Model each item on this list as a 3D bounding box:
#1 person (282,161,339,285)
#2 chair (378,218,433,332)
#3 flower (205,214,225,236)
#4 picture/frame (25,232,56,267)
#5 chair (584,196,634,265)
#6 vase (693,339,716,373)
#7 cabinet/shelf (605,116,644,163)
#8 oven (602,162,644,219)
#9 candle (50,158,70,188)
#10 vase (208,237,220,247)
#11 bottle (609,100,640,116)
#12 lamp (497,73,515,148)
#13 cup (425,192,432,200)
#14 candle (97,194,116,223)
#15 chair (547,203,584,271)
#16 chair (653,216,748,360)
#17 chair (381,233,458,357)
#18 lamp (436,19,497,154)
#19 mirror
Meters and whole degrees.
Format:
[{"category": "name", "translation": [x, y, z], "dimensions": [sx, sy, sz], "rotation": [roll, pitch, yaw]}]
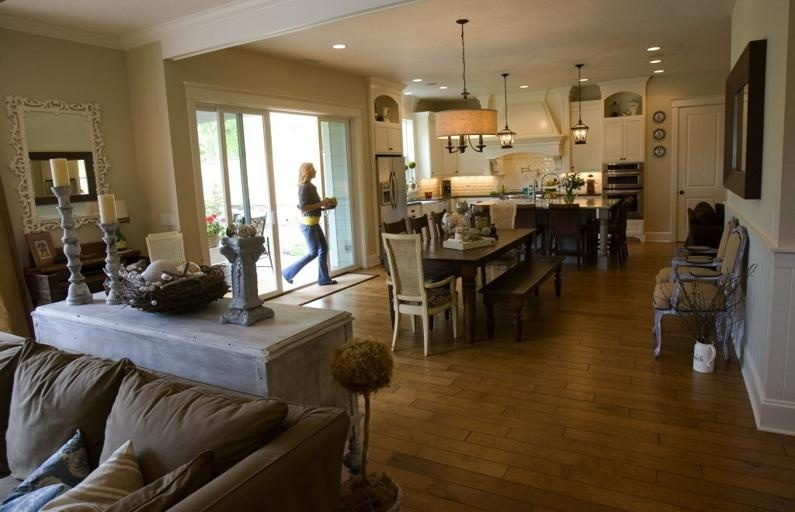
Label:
[{"category": "person", "translation": [-1.367, -0.449, 8.317], "dimensions": [0.921, 1.920, 0.499], "rotation": [-11, 12, -13]}, {"category": "chair", "translation": [0.215, 0.110, 6.326], "dimensions": [0.753, 1.039, 0.678], "rotation": [3, -7, -10]}, {"category": "flower", "translation": [-2.375, -0.409, 7.116], "dimensions": [0.244, 0.228, 0.237], "rotation": [0, 7, 19]}, {"category": "picture/frame", "translation": [-3.978, -0.065, 6.074], "dimensions": [0.033, 0.431, 0.327], "rotation": [-12, 7, 29]}, {"category": "chair", "translation": [3.546, -0.404, 9.221], "dimensions": [0.734, 0.841, 1.291], "rotation": [0, 9, 21]}, {"category": "vase", "translation": [2.902, 0.950, 5.166], "dimensions": [0.205, 0.291, 0.190], "rotation": [-4, 12, 18]}, {"category": "cabinet/shelf", "translation": [4.608, -2.380, 10.990], "dimensions": [0.961, 1.114, 0.576], "rotation": [4, 9, 36]}, {"category": "oven", "translation": [4.826, -1.499, 11.401], "dimensions": [0.872, 1.137, 0.915], "rotation": [-27, 29, -36]}, {"category": "candle", "translation": [-2.600, -0.640, 4.214], "dimensions": [0.119, 0.213, 0.246], "rotation": [-15, 14, -29]}, {"category": "vase", "translation": [-2.399, -0.185, 7.127], "dimensions": [0.128, 0.087, 0.122], "rotation": [-6, 11, -19]}, {"category": "bottle", "translation": [4.610, -3.015, 11.073], "dimensions": [0.590, 0.353, 0.376], "rotation": [-2, 13, 26]}, {"category": "lamp", "translation": [1.792, -2.431, 9.012], "dimensions": [0.336, 1.120, 0.311], "rotation": [-6, 15, -6]}, {"category": "cup", "translation": [0.692, -1.353, 12.281], "dimensions": [0.209, 0.198, 0.276], "rotation": [-3, 4, 9]}, {"category": "candle", "translation": [-2.259, -0.363, 4.252], "dimensions": [0.128, 0.226, 0.153], "rotation": [-15, 13, -27]}, {"category": "chair", "translation": [2.813, -0.364, 8.974], "dimensions": [0.639, 1.022, 0.730], "rotation": [0, 9, 13]}, {"category": "chair", "translation": [3.083, 0.348, 5.549], "dimensions": [0.823, 1.268, 1.175], "rotation": [-1, 14, 32]}, {"category": "chair", "translation": [0.239, 0.357, 5.904], "dimensions": [0.792, 1.315, 0.629], "rotation": [-9, 12, 0]}, {"category": "lamp", "translation": [0.810, -2.113, 6.724], "dimensions": [0.882, 1.599, 0.830], "rotation": [-5, 10, -17]}, {"category": "mirror", "translation": [-3.849, -1.072, 6.260], "dimensions": [0.095, 1.494, 1.099], "rotation": [1, 15, 40]}]
